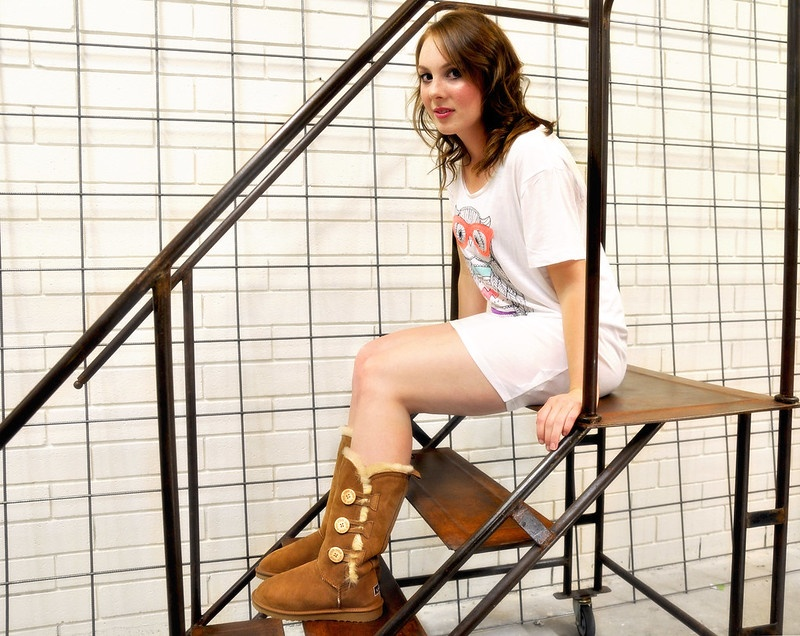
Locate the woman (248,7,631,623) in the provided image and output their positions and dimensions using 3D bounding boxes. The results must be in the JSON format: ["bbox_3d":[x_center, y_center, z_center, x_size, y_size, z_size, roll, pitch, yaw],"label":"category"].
[{"bbox_3d":[0.105,-0.076,2.448,0.990,1.738,0.420,-12,-16,16],"label":"woman"}]

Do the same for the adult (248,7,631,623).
[{"bbox_3d":[0.107,-0.076,2.447,0.986,1.738,0.420,-12,-16,16],"label":"adult"}]

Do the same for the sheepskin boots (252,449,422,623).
[{"bbox_3d":[-0.189,0.585,2.244,0.422,0.416,0.202,6,-7,-24],"label":"sheepskin boots"}]
